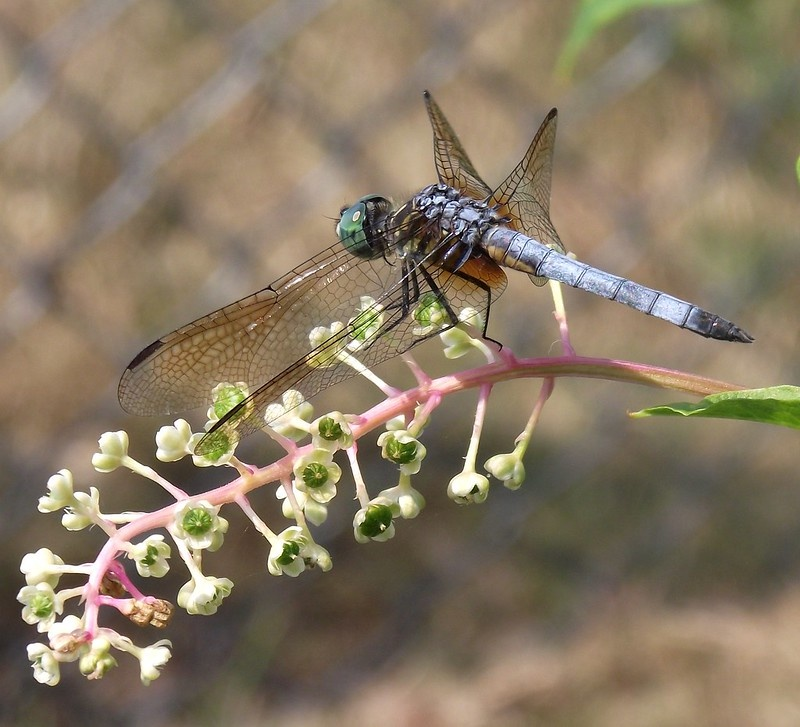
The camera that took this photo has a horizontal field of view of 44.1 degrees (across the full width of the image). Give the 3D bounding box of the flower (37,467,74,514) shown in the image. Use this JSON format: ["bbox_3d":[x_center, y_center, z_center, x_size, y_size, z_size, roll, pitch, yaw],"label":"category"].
[{"bbox_3d":[-0.458,0.166,1.327,0.048,0.088,0.055,-12,84,2],"label":"flower"}]

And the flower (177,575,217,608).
[{"bbox_3d":[-0.271,0.304,1.318,0.058,0.055,0.038,-12,84,2],"label":"flower"}]

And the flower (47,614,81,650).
[{"bbox_3d":[-0.429,0.344,1.270,0.035,0.018,0.038,-7,48,33],"label":"flower"}]

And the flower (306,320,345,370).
[{"bbox_3d":[-0.104,-0.025,1.391,0.057,0.072,0.067,-6,84,3],"label":"flower"}]

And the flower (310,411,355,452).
[{"bbox_3d":[-0.093,0.093,1.327,0.053,0.040,0.051,-18,84,1],"label":"flower"}]

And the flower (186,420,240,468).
[{"bbox_3d":[-0.253,0.106,1.317,0.049,0.058,0.030,-19,78,22],"label":"flower"}]

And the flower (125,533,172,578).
[{"bbox_3d":[-0.330,0.257,1.311,0.048,0.026,0.058,-21,77,-4],"label":"flower"}]

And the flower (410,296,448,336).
[{"bbox_3d":[0.039,-0.071,1.392,0.053,0.013,0.052,-19,84,0],"label":"flower"}]

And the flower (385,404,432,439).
[{"bbox_3d":[0.022,0.084,1.395,0.036,0.051,0.015,14,35,-32],"label":"flower"}]

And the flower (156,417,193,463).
[{"bbox_3d":[-0.316,0.102,1.337,0.055,0.029,0.050,-30,101,-19],"label":"flower"}]

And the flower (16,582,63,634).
[{"bbox_3d":[-0.467,0.311,1.277,0.052,0.038,0.063,-30,82,-16],"label":"flower"}]

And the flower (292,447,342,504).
[{"bbox_3d":[-0.110,0.147,1.319,0.064,0.029,0.070,-29,90,-3],"label":"flower"}]

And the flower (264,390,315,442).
[{"bbox_3d":[-0.149,0.073,1.355,0.061,0.059,0.061,-34,84,-1],"label":"flower"}]

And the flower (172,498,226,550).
[{"bbox_3d":[-0.269,0.214,1.317,0.065,0.045,0.067,7,85,3],"label":"flower"}]

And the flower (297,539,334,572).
[{"bbox_3d":[-0.112,0.273,1.351,0.049,0.042,0.020,39,104,-12],"label":"flower"}]

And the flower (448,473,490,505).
[{"bbox_3d":[0.093,0.168,1.338,0.046,0.046,0.032,7,53,-23],"label":"flower"}]

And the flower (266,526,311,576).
[{"bbox_3d":[-0.153,0.264,1.349,0.053,0.064,0.038,-18,46,-31],"label":"flower"}]

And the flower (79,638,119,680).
[{"bbox_3d":[-0.394,0.388,1.296,0.036,0.025,0.058,30,64,0],"label":"flower"}]

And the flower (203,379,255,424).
[{"bbox_3d":[-0.246,0.057,1.357,0.057,0.027,0.061,19,79,-2],"label":"flower"}]
